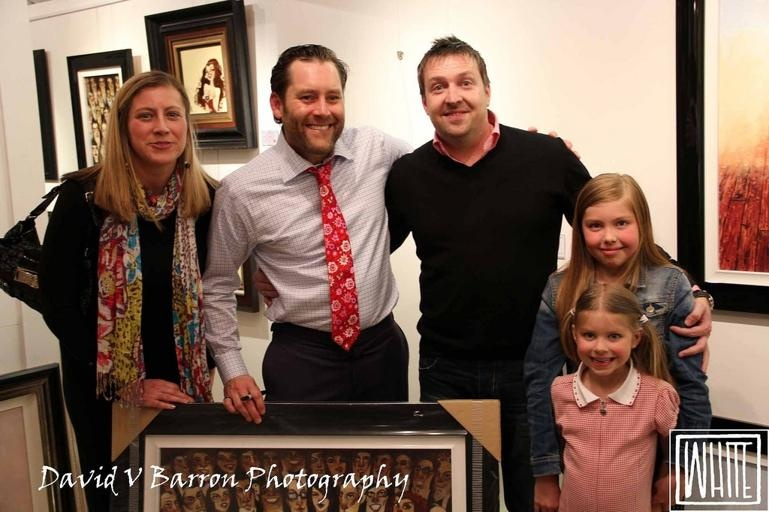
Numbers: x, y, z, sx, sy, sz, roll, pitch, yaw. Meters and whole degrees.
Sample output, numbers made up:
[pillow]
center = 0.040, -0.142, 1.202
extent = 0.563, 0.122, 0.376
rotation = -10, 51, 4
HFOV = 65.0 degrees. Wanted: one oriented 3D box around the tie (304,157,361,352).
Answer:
[tie]
center = -0.239, 0.000, 2.882
extent = 0.292, 0.871, 0.067
rotation = -11, -4, -1
